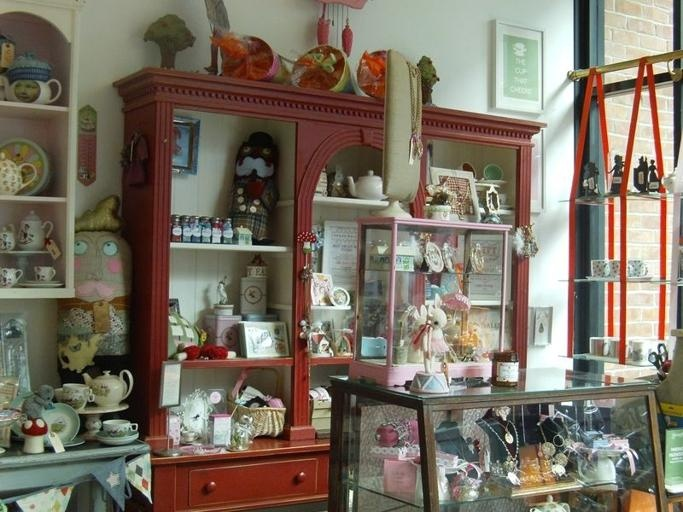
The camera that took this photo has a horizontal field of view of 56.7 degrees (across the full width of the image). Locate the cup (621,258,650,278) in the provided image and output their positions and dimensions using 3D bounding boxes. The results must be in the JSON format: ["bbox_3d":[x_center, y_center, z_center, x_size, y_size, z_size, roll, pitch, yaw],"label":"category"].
[{"bbox_3d":[1.928,0.076,4.139,0.170,0.121,0.113,3,-5,-28],"label":"cup"}]

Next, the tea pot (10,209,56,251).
[{"bbox_3d":[-1.640,-0.130,3.343,0.164,0.239,0.233,-1,-2,45],"label":"tea pot"}]

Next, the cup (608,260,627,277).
[{"bbox_3d":[1.805,0.081,4.098,0.053,0.094,0.098,-8,9,-43],"label":"cup"}]

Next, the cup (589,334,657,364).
[{"bbox_3d":[1.881,0.622,4.206,0.296,0.097,0.213,-3,-3,44],"label":"cup"}]

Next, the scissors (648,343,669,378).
[{"bbox_3d":[1.805,0.598,3.555,0.060,0.243,0.188,-1,4,30],"label":"scissors"}]

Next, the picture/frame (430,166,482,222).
[{"bbox_3d":[0.746,-0.393,4.120,0.486,0.506,0.024,-1,-10,-34],"label":"picture/frame"}]

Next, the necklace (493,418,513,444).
[{"bbox_3d":[0.686,0.730,2.651,0.130,0.131,0.038,4,-6,-45],"label":"necklace"}]

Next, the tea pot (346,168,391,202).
[{"bbox_3d":[0.166,-0.461,4.163,0.295,0.196,0.196,7,5,19],"label":"tea pot"}]

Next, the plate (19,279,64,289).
[{"bbox_3d":[-1.596,0.146,3.305,0.278,0.042,0.143,-2,-4,26],"label":"plate"}]

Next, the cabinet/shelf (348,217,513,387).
[{"bbox_3d":[0.394,0.213,2.770,0.705,0.675,0.291,3,-5,-25],"label":"cabinet/shelf"}]

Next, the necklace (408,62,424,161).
[{"bbox_3d":[0.340,-0.634,2.870,0.048,0.450,0.179,-2,-4,22],"label":"necklace"}]

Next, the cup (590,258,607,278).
[{"bbox_3d":[1.723,0.091,4.229,0.065,0.112,0.169,0,-4,-8],"label":"cup"}]

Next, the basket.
[{"bbox_3d":[-0.586,0.864,3.861,0.359,0.357,0.248,7,-10,-13],"label":"basket"}]

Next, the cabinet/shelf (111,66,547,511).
[{"bbox_3d":[-0.226,0.192,3.407,2.810,2.574,0.719,-1,-2,-26],"label":"cabinet/shelf"}]

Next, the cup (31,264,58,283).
[{"bbox_3d":[-1.565,0.097,3.325,0.084,0.082,0.104,-6,-13,18],"label":"cup"}]

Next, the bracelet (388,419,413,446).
[{"bbox_3d":[0.253,0.698,2.523,0.108,0.085,0.043,2,1,29],"label":"bracelet"}]

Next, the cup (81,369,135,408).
[{"bbox_3d":[-1.241,0.647,3.351,0.282,0.203,0.193,6,-8,-40],"label":"cup"}]

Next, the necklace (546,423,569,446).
[{"bbox_3d":[0.937,0.775,2.741,0.094,0.120,0.043,-17,12,-13],"label":"necklace"}]

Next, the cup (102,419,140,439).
[{"bbox_3d":[-1.101,0.845,3.123,0.151,0.068,0.121,4,-6,-15],"label":"cup"}]

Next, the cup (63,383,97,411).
[{"bbox_3d":[-1.322,0.707,3.163,0.136,0.099,0.113,10,-10,-43],"label":"cup"}]
